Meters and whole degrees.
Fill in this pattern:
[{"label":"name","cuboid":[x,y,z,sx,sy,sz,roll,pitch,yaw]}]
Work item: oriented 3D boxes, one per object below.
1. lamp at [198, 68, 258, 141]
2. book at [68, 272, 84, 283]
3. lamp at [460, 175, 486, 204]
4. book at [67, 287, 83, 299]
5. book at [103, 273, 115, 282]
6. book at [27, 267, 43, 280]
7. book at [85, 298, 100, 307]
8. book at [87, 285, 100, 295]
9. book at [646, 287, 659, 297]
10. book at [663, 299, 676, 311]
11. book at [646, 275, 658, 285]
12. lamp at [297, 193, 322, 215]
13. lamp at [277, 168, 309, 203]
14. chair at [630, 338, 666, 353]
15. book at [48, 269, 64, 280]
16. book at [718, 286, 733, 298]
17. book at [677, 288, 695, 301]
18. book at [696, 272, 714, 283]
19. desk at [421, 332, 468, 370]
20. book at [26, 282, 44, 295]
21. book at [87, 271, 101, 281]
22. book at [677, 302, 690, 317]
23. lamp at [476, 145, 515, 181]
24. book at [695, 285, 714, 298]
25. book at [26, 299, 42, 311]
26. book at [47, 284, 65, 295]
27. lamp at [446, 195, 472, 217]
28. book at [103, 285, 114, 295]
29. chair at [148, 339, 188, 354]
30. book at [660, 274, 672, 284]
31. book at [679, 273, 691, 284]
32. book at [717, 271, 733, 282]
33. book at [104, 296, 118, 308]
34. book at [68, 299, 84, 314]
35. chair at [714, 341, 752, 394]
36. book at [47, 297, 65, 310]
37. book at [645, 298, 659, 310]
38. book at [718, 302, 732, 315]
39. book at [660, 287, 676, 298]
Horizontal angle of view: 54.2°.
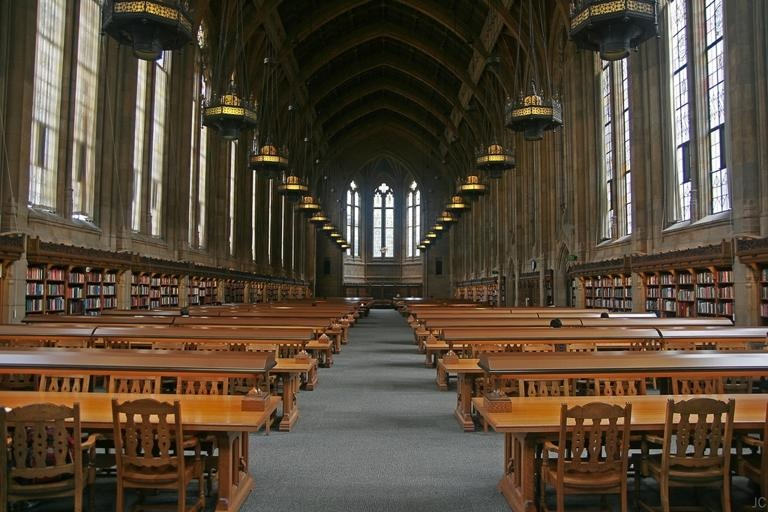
[{"label":"lamp","cuboid":[-4.108,-4.095,20.054,1.102,1.555,1.250,-7,-10,34]},{"label":"book","cuboid":[-7.817,0.563,19.090,0.202,0.392,0.401,-1,-6,-1]},{"label":"lamp","cuboid":[3.352,-2.525,28.529,0.940,0.847,0.970,0,0,-4]},{"label":"book","cuboid":[-7.775,0.924,18.908,0.204,0.294,0.286,0,-2,-5]},{"label":"book","cuboid":[-7.558,0.604,20.658,0.158,0.317,0.320,-3,-4,20]},{"label":"book","cuboid":[-8.191,0.424,17.668,0.218,0.409,0.420,0,-5,18]},{"label":"book","cuboid":[-7.629,1.224,19.696,0.200,0.284,0.289,1,-4,-5]},{"label":"book","cuboid":[-7.670,0.912,19.832,0.355,0.353,0.192,1,0,-42]},{"label":"book","cuboid":[7.507,1.011,20.944,0.193,0.288,0.295,0,-3,-12]},{"label":"book","cuboid":[7.605,1.326,19.961,0.194,0.358,0.357,2,-6,-14]},{"label":"book","cuboid":[7.507,0.667,20.977,0.199,0.294,0.288,2,2,6]},{"label":"lamp","cuboid":[-3.314,-2.312,32.937,0.862,0.783,0.896,0,-2,1]},{"label":"lamp","cuboid":[-3.448,-2.504,28.412,1.475,1.186,1.525,1,1,0]},{"label":"chair","cuboid":[5.245,1.750,14.937,0.582,0.202,0.238,1,-9,-13]},{"label":"book","cuboid":[-7.993,0.468,18.300,0.189,0.268,0.264,1,-5,-20]},{"label":"book","cuboid":[8.056,0.886,17.676,0.211,0.305,0.302,0,-5,11]},{"label":"book","cuboid":[7.702,1.001,19.126,0.228,0.309,0.304,-2,2,-43]},{"label":"book","cuboid":[7.940,0.492,18.550,0.233,0.328,0.324,-4,3,-38]},{"label":"desk","cuboid":[1.464,1.987,17.316,1.102,0.555,1.651,6,9,0]},{"label":"book","cuboid":[-8.211,0.770,17.676,0.234,0.330,0.330,-7,-8,44]},{"label":"book","cuboid":[-7.654,0.560,19.847,0.284,0.294,0.217,1,-20,-12]},{"label":"book","cuboid":[7.700,1.369,19.207,0.266,0.395,0.396,1,-3,1]},{"label":"lamp","cuboid":[3.384,-2.817,22.909,1.035,1.166,1.061,0,-6,-1]},{"label":"book","cuboid":[7.878,0.880,18.375,0.308,0.319,0.235,1,1,41]},{"label":"book","cuboid":[-8.156,1.146,17.482,0.199,0.278,0.278,0,-2,0]},{"label":"book","cuboid":[-8.018,0.829,18.373,0.200,0.299,0.292,2,2,40]},{"label":"lamp","cuboid":[3.382,-2.411,33.409,1.099,1.694,1.148,0,-3,8]},{"label":"book","cuboid":[-7.522,0.940,20.621,0.171,0.234,0.236,-3,-3,40]},{"label":"chair","cuboid":[-3.927,1.619,13.787,0.610,0.306,2.092,1,-10,-15]},{"label":"book","cuboid":[7.606,0.628,20.164,0.201,0.284,0.289,1,1,5]},{"label":"book","cuboid":[7.765,0.555,19.334,0.213,0.311,0.311,1,0,6]},{"label":"book","cuboid":[8.107,0.493,17.809,0.211,0.288,0.294,1,-9,7]},{"label":"book","cuboid":[-7.518,1.274,20.644,0.299,0.306,0.229,-1,-3,6]},{"label":"book","cuboid":[-7.791,1.277,18.934,0.289,0.425,0.428,-2,-5,16]},{"label":"chair","cuboid":[6.302,1.952,13.400,0.584,0.924,2.872,-5,-10,23]},{"label":"book","cuboid":[-7.976,1.169,18.267,0.265,0.393,0.384,-9,-10,39]},{"label":"book","cuboid":[7.496,1.362,20.925,0.230,0.327,0.334,-1,0,-16]},{"label":"book","cuboid":[8.045,1.239,17.654,0.222,0.305,0.313,0,-3,8]},{"label":"book","cuboid":[7.595,0.984,20.036,0.191,0.268,0.273,2,-3,10]}]
